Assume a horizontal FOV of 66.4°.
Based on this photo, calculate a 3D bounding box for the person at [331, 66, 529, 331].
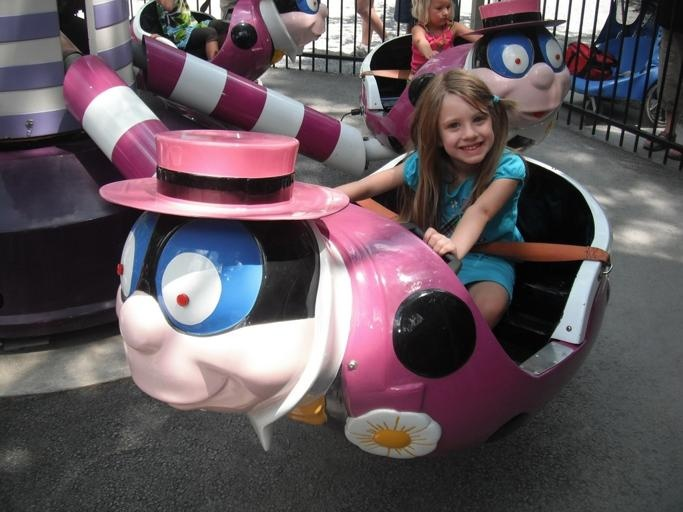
[{"bbox_3d":[0.319,-0.205,1.927,0.696,0.965,0.605,3,29,12],"label":"person"}]
